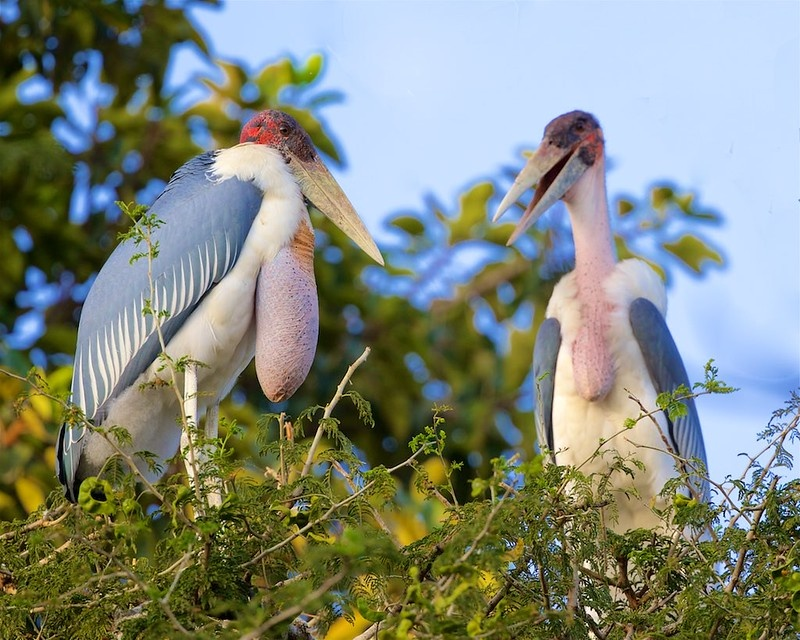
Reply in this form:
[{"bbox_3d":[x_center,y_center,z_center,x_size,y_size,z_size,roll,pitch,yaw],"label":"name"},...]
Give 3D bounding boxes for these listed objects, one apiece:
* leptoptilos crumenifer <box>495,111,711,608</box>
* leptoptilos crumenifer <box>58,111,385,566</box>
[{"bbox_3d":[0.760,-0.011,5.072,0.920,1.556,0.551,11,-17,12],"label":"leptoptilos crumenifer"},{"bbox_3d":[-0.629,-0.020,4.899,1.137,1.439,0.715,-7,-16,9],"label":"leptoptilos crumenifer"}]
